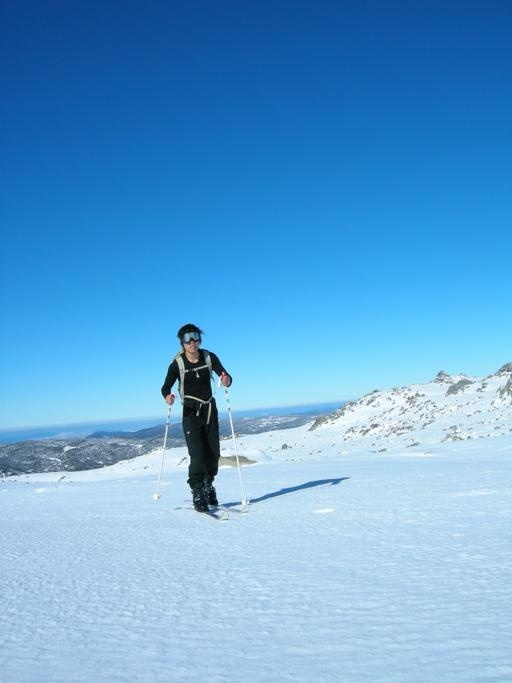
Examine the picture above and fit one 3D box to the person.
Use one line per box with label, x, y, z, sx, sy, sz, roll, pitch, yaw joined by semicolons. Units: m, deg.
person;-0.805;1.040;9.243;0.781;2.483;0.817;-9;-10;25
